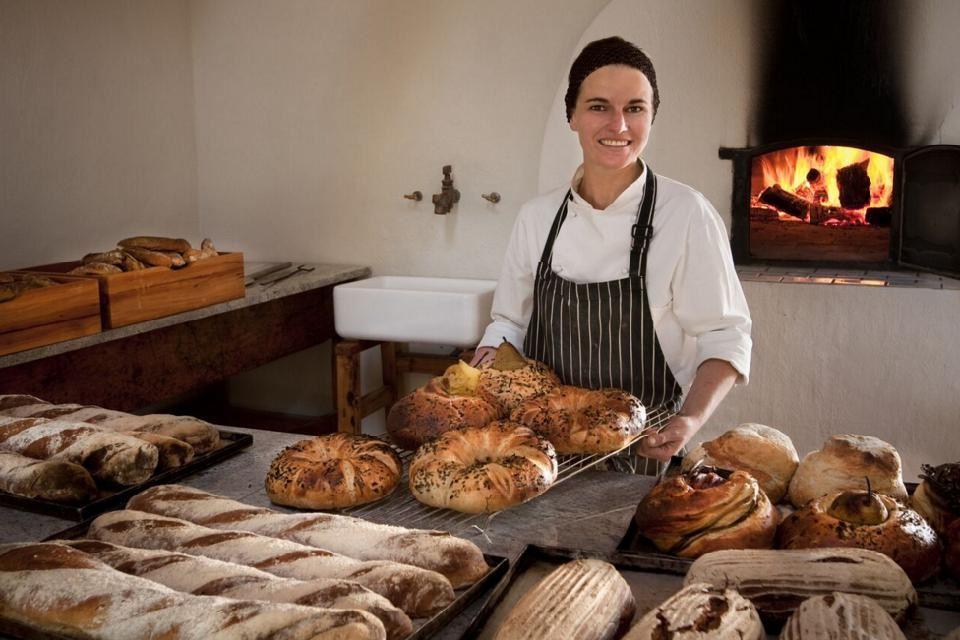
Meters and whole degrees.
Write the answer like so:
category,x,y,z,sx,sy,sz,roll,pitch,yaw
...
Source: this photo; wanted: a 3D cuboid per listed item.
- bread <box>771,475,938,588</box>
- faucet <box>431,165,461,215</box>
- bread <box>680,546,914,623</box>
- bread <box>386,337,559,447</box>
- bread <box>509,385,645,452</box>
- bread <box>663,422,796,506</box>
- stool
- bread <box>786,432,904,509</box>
category,x,y,z,sx,sy,sz,roll,pitch,yaw
bread,0.689,0.378,1.204,0.261,0.150,0.262,-3,4,-32
faucet,-0.195,-0.762,3.916,0.179,0.266,0.180,-10,19,-29
bread,0.517,0.407,1.105,0.329,0.100,0.151,-4,-1,13
bread,-0.024,0.191,1.634,0.406,0.157,0.203,-19,6,-32
bread,0.236,0.237,1.560,0.188,0.058,0.189,-5,11,10
bread,0.594,0.301,1.484,0.228,0.143,0.225,2,9,28
stool,-0.507,0.321,3.843,0.572,0.722,0.751,2,7,18
bread,0.772,0.333,1.375,0.214,0.148,0.210,7,2,-35
